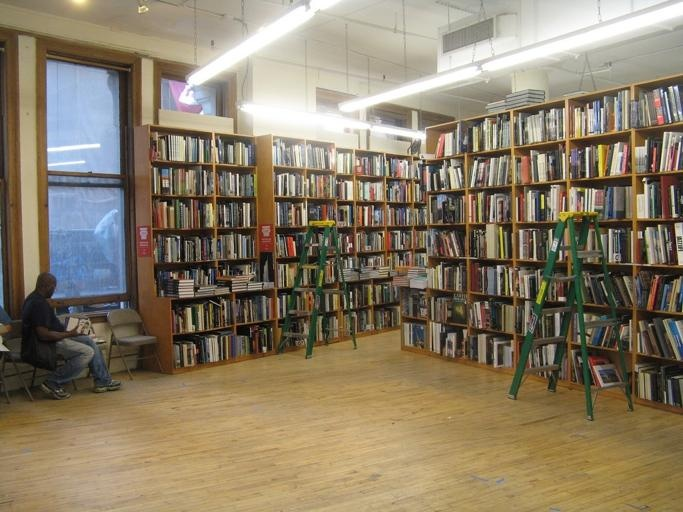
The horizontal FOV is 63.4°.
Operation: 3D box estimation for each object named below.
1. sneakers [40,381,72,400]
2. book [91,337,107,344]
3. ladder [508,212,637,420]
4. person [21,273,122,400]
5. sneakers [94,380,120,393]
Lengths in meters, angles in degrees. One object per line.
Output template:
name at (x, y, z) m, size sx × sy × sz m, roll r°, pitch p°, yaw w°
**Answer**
sneakers at (-3.513, 1.625, 6.793) m, size 0.302 × 0.208 × 0.388 m, roll -4°, pitch 7°, yaw -28°
book at (-3.273, 1.144, 7.450) m, size 0.165 × 0.032 × 0.154 m, roll 1°, pitch -1°, yaw 6°
ladder at (2.662, 0.577, 6.331) m, size 1.282 × 2.163 × 1.452 m, roll 1°, pitch 7°, yaw 24°
person at (-3.420, 0.969, 6.802) m, size 0.949 × 1.511 × 0.381 m, roll -5°, pitch 8°, yaw -27°
sneakers at (-2.943, 1.647, 7.003) m, size 0.309 × 0.120 × 0.135 m, roll -5°, pitch 7°, yaw -38°
